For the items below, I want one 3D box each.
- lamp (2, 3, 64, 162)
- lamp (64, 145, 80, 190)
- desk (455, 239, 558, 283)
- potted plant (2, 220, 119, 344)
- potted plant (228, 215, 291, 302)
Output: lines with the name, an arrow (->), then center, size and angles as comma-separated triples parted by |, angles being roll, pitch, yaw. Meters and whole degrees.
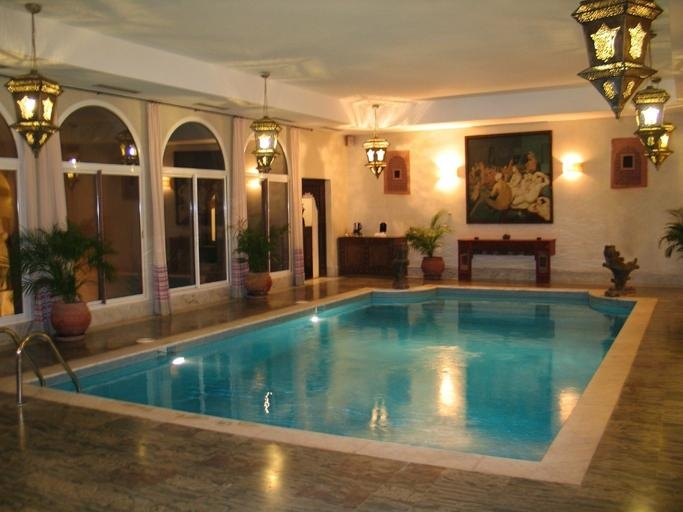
lamp -> -4.264, -2.302, 7.276 | 0.721, 2.006, 3.077 | -4, 6, -28
lamp -> -4.562, -1.484, 8.917 | 0.072, 0.682, 0.237 | 2, 7, 28
desk -> 4.223, 0.086, 13.548 | 2.352, 1.095, 0.890 | 1, 6, 19
potted plant -> -4.350, 0.369, 8.223 | 1.348, 1.742, 1.167 | -6, 8, -42
potted plant -> -1.924, 0.023, 12.182 | 1.780, 1.885, 1.471 | 0, 2, -16
